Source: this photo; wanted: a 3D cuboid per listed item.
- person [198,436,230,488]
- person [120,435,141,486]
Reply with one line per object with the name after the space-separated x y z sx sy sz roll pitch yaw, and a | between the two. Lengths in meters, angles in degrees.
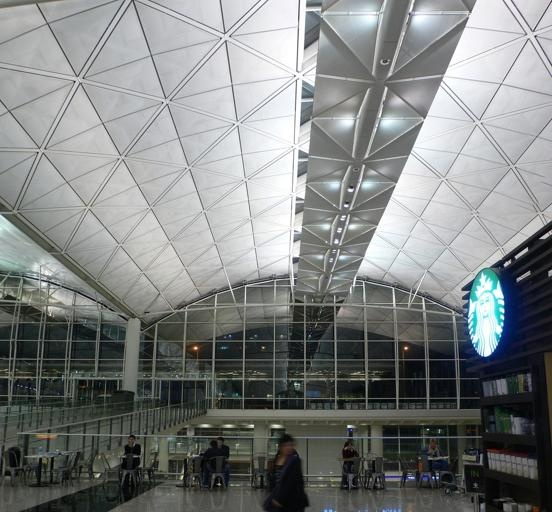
-2.343 8.029 17.602 1.118 1.734 1.253 0 -21 -6 | person
-5.613 8.041 17.682 0.979 1.276 1.403 3 -21 -9 | person
